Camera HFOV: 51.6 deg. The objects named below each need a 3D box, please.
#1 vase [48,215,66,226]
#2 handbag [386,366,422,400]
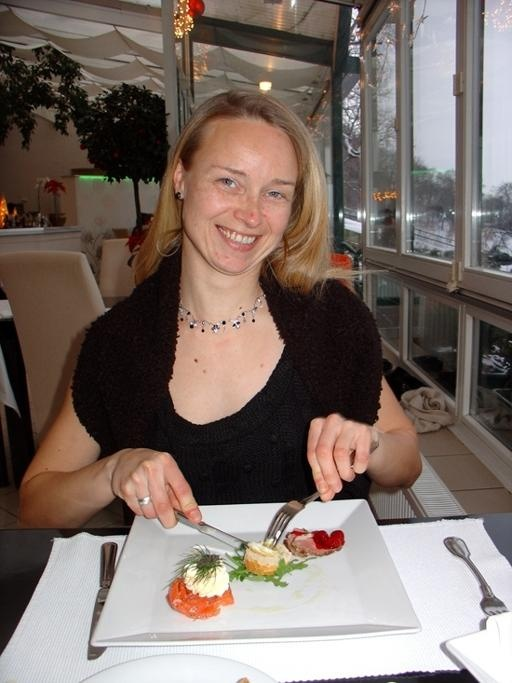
[{"bbox_3d":[-3.223,-1.966,8.593,0.229,0.165,0.222,-3,8,-26],"label":"vase"},{"bbox_3d":[0.853,0.232,3.097,0.154,0.050,0.212,-16,30,-7],"label":"handbag"}]
